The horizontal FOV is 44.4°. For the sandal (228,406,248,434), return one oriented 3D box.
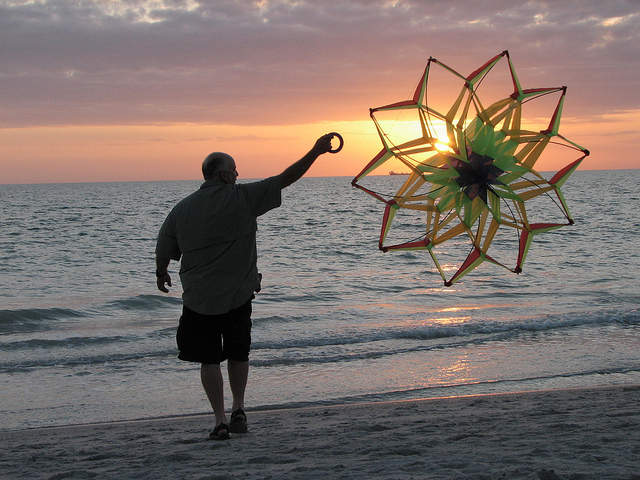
[{"bbox_3d":[-0.892,1.930,8.430,0.204,0.363,0.165,0,11,-5],"label":"sandal"}]

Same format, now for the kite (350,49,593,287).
[{"bbox_3d":[1.841,-0.861,8.697,2.159,2.107,0.685,-17,72,-50],"label":"kite"}]

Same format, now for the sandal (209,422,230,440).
[{"bbox_3d":[-1.084,2.020,8.351,0.210,0.212,0.162,0,10,-7],"label":"sandal"}]
